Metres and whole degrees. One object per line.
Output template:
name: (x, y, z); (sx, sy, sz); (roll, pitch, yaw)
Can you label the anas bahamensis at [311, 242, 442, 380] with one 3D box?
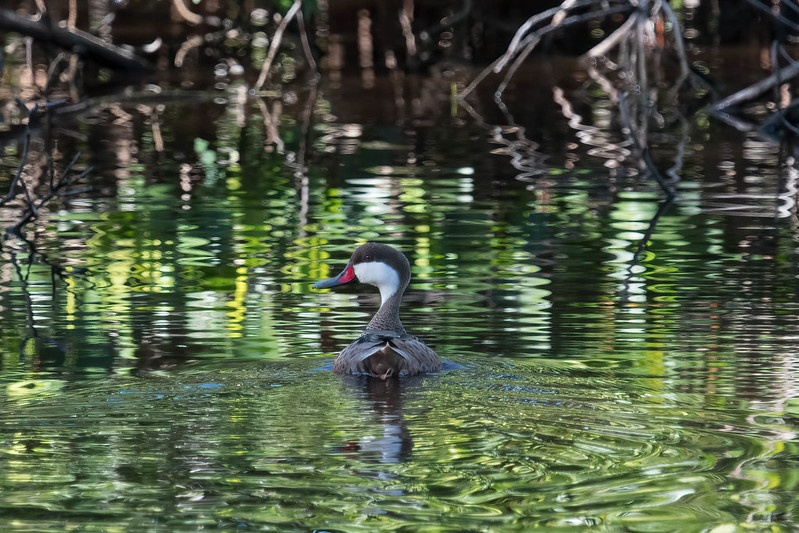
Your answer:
anas bahamensis: (-0.100, 0.329, 7.753); (0.889, 1.148, 1.183); (0, -5, -3)
